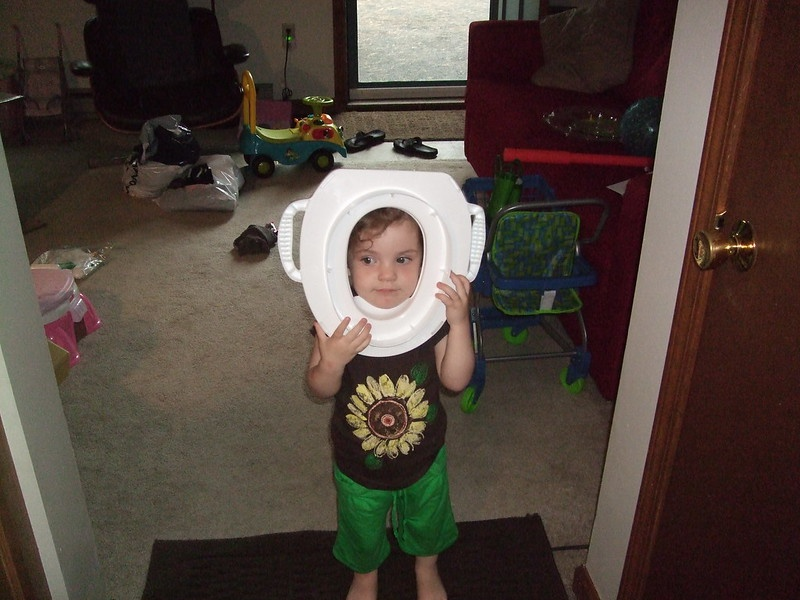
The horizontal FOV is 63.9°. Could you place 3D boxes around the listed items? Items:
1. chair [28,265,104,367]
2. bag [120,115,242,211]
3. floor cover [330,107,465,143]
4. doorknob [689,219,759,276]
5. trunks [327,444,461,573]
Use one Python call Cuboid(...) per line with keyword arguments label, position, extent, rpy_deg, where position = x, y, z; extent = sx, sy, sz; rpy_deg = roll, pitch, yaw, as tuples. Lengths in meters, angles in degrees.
Cuboid(label="chair", position=(-1.235, 0.062, 2.305), extent=(0.282, 0.212, 0.289), rpy_deg=(-2, 30, 27))
Cuboid(label="bag", position=(-1.151, -0.633, 3.516), extent=(0.587, 0.448, 0.489), rpy_deg=(4, 50, -12))
Cuboid(label="floor cover", position=(-0.003, -1.234, 4.499), extent=(0.924, 0.100, 0.711), rpy_deg=(0, 25, 3))
Cuboid(label="doorknob", position=(0.501, -0.081, 1.001), extent=(0.062, 0.095, 0.084), rpy_deg=(0, -4, -15))
Cuboid(label="trunks", position=(-0.008, 0.444, 1.439), extent=(0.272, 0.349, 0.137), rpy_deg=(-5, 30, -4))
